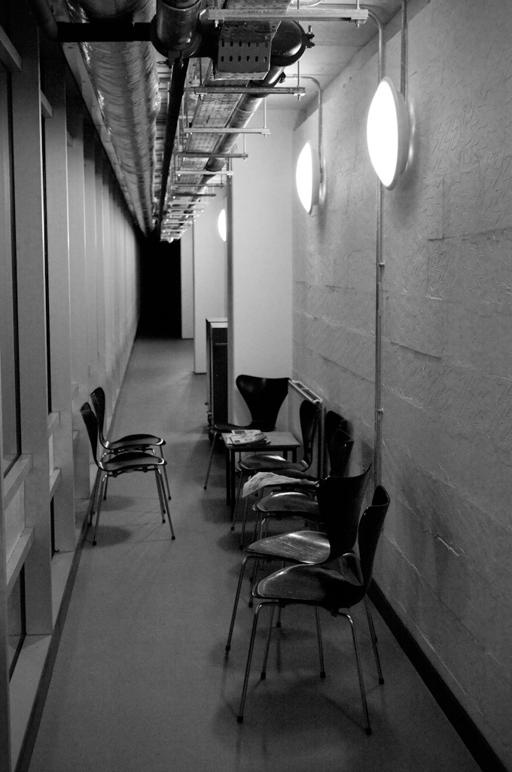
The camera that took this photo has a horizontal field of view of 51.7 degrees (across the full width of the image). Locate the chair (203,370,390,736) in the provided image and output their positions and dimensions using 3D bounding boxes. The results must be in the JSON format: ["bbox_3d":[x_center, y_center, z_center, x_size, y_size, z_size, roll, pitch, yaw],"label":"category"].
[{"bbox_3d":[0.217,0.823,2.581,0.751,0.860,1.496,0,-2,7],"label":"chair"}]

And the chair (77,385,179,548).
[{"bbox_3d":[-1.079,0.600,4.640,0.804,1.825,0.871,-1,3,-6],"label":"chair"}]
